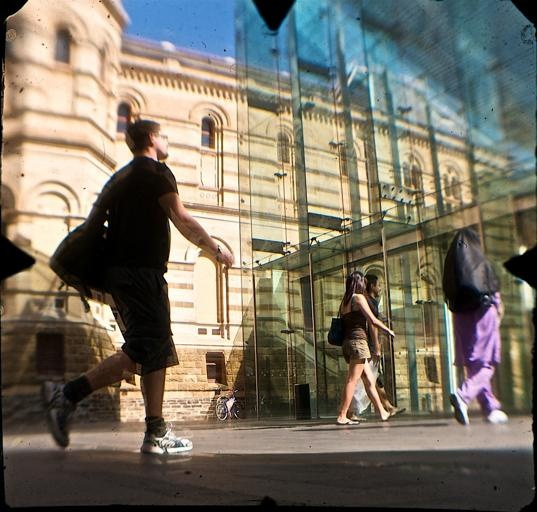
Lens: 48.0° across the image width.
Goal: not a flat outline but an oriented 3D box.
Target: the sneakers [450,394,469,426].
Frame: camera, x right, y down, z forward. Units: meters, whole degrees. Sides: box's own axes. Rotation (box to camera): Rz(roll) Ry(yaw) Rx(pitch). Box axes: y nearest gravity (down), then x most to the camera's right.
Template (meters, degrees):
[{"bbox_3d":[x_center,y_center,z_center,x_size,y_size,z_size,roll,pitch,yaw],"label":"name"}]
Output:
[{"bbox_3d":[1.109,0.881,3.515,0.078,0.182,0.067,5,-41,-31],"label":"sneakers"}]

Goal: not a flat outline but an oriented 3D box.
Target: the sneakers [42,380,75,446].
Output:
[{"bbox_3d":[-0.738,0.546,2.110,0.098,0.233,0.078,-11,-2,6],"label":"sneakers"}]

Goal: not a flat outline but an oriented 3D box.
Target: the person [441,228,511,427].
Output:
[{"bbox_3d":[1.218,0.416,3.588,0.307,1.112,0.446,-3,-11,20],"label":"person"}]

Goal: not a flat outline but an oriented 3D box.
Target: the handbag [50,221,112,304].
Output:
[{"bbox_3d":[-0.739,0.018,2.346,0.264,0.197,0.204,6,0,45],"label":"handbag"}]

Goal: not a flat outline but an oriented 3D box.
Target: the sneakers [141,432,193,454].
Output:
[{"bbox_3d":[-0.394,0.722,2.398,0.212,0.096,0.084,4,-7,-28],"label":"sneakers"}]

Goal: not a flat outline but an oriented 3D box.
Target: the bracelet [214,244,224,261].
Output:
[{"bbox_3d":[-0.212,-0.015,2.591,0.020,0.050,0.036,-11,15,-38],"label":"bracelet"}]

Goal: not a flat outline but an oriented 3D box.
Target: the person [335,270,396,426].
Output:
[{"bbox_3d":[0.867,0.824,5.484,0.549,1.384,0.476,-4,-11,23],"label":"person"}]

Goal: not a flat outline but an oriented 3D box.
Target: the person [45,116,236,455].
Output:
[{"bbox_3d":[-0.551,0.067,2.458,0.714,1.408,0.264,8,-12,-36],"label":"person"}]

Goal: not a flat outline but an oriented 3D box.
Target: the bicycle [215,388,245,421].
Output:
[{"bbox_3d":[-0.783,3.363,13.787,0.445,0.560,0.923,-27,-26,30],"label":"bicycle"}]
